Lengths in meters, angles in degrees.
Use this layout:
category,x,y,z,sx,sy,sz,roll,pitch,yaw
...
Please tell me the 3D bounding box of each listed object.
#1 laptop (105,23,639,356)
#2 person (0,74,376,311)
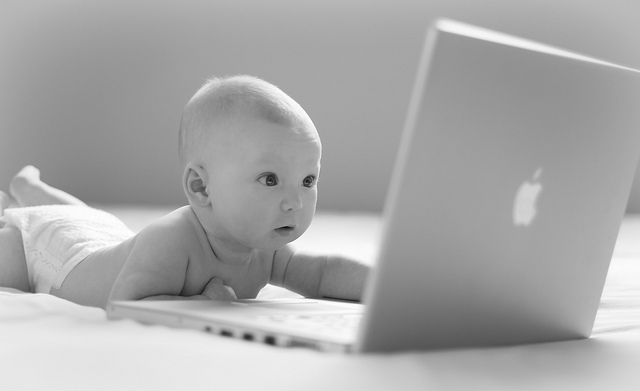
category,x,y,z,sx,sy,sz,roll,pitch,yaw
laptop,0.126,0.024,1.136,0.582,0.350,0.563,11,3,43
person,-0.463,0.027,1.524,1.043,0.434,0.400,-1,-8,35
